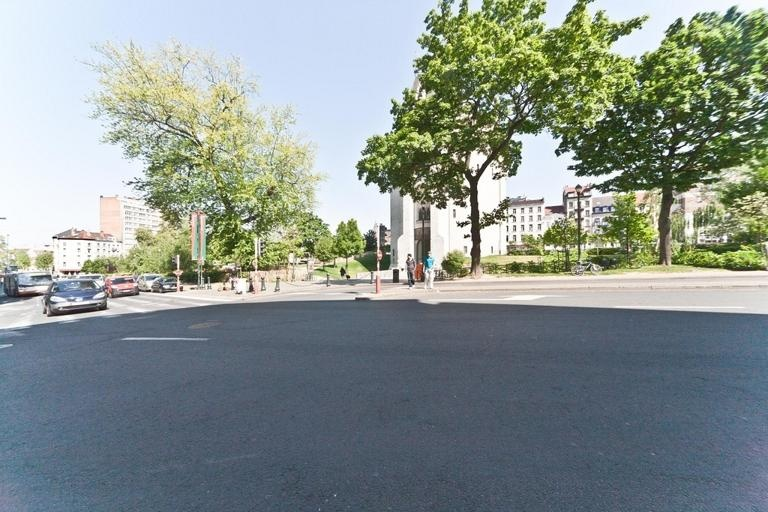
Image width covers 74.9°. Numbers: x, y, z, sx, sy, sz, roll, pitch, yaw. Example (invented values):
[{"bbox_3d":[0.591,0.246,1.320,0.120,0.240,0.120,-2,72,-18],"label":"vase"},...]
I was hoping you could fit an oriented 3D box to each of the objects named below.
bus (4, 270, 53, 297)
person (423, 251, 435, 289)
[{"bbox_3d":[-24.451,1.944,34.624,1.861,1.758,6.121,0,-2,-43],"label":"bus"},{"bbox_3d":[2.477,0.830,27.320,0.406,1.959,0.750,-3,0,-22],"label":"person"}]
